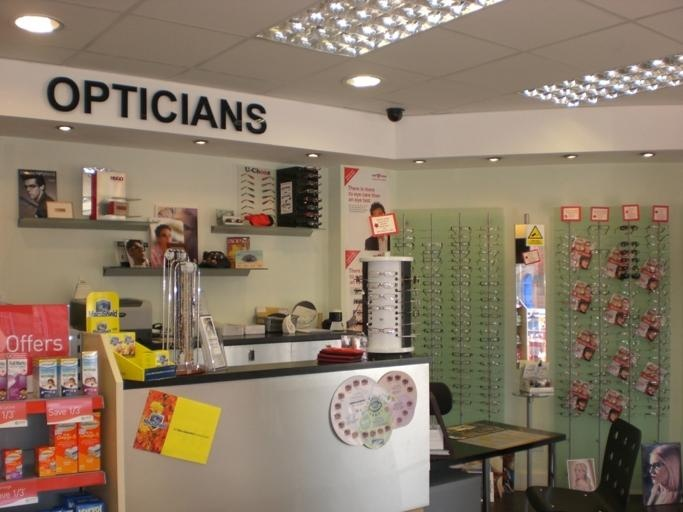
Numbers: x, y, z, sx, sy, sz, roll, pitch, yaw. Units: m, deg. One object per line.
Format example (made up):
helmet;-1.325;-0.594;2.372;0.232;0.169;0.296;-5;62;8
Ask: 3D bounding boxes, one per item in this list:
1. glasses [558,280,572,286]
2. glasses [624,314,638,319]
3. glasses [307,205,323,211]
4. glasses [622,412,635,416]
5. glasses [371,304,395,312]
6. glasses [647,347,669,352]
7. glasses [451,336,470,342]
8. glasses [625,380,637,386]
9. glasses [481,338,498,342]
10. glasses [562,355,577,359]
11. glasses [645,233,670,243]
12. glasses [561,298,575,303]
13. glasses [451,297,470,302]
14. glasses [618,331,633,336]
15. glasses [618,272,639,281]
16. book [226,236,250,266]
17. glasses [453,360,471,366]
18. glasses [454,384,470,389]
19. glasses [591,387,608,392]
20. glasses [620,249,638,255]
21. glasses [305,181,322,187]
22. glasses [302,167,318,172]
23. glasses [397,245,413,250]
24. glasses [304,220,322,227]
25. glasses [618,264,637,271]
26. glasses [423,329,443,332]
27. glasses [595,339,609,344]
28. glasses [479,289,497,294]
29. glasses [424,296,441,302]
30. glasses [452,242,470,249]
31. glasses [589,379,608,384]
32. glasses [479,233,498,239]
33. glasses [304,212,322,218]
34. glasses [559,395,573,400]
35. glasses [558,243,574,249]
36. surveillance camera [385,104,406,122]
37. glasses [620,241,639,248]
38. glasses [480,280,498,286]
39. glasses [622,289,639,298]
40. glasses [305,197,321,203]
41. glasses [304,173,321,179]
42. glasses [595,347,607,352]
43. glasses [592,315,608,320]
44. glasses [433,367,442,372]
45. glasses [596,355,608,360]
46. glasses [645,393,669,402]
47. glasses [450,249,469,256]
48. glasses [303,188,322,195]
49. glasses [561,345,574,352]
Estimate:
glasses;2.494;0.306;6.354;0.130;0.082;0.030;-1;1;5
glasses;3.182;0.665;6.228;0.150;0.067;0.024;-2;1;-6
glasses;-0.289;-0.526;6.206;0.052;0.073;0.236;-1;5;31
glasses;3.118;1.721;6.196;0.086;0.049;0.021;-2;-2;3
glasses;0.277;0.350;3.953;0.171;0.047;0.030;-2;1;3
glasses;3.460;1.011;6.211;0.132;0.033;0.044;2;-23;3
glasses;1.352;0.932;6.495;0.218;0.089;0.072;4;0;4
glasses;3.168;1.380;6.209;0.098;0.058;0.021;-2;1;-3
glasses;1.658;0.935;6.405;0.213;0.060;0.029;-2;1;-3
glasses;2.522;1.114;6.319;0.145;0.063;0.045;-3;3;0
glasses;3.458;-0.200;6.244;0.244;0.144;0.056;-2;1;-12
glasses;2.515;0.502;6.332;0.116;0.060;0.021;-1;1;28
glasses;1.362;0.506;6.478;0.224;0.074;0.023;-1;1;6
glasses;3.114;0.853;6.237;0.144;0.045;0.026;-2;1;-3
glasses;3.150;0.220;6.239;0.154;0.056;0.097;0;-8;-3
book;-1.096;-0.046;5.951;0.283;0.381;0.050;5;-22;-26
glasses;1.350;1.199;6.417;0.139;0.085;0.033;2;4;7
glasses;1.359;1.462;6.409;0.209;0.049;0.051;1;3;2
glasses;2.832;1.464;6.238;0.164;0.079;0.031;-2;1;-2
glasses;3.157;-0.053;6.250;0.127;0.085;0.039;-4;11;4
glasses;-0.303;-0.788;6.146;0.192;0.070;0.056;2;-6;-39
glasses;-0.331;-0.925;6.108;0.089;0.034;0.089;1;-1;14
glasses;0.734;-0.099;6.607;0.074;0.054;0.118;5;5;43
glasses;-0.313;-0.358;6.190;0.191;0.064;0.059;-1;-20;-29
glasses;3.143;0.126;6.241;0.200;0.081;0.037;-2;1;-7
glasses;1.038;0.843;6.496;0.131;0.035;0.086;-2;-1;-6
glasses;2.874;0.936;6.264;0.079;0.024;0.083;2;4;34
glasses;1.655;0.396;6.440;0.093;0.028;0.097;3;-16;6
glasses;1.037;0.475;6.547;0.206;0.072;0.095;1;-4;2
glasses;1.361;-0.124;6.510;0.193;0.092;0.029;-2;1;-1
glasses;2.830;1.373;6.250;0.157;0.049;0.030;-6;-14;5
glasses;1.665;-0.218;6.475;0.191;0.086;0.034;-2;1;-5
glasses;-0.315;-0.452;6.167;0.063;0.051;0.149;0;10;40
glasses;2.464;1.559;6.287;0.150;0.062;0.027;-1;1;6
glasses;2.499;-0.122;6.352;0.071;0.045;0.111;3;-8;-43
surveillance camera;0.555;-1.498;5.943;0.136;0.097;0.138;0;-7;-3
glasses;3.160;-0.130;6.239;0.177;0.062;0.020;-3;3;2
glasses;1.665;0.299;6.447;0.207;0.092;0.026;-2;1;-1
glasses;3.155;0.416;6.248;0.106;0.109;0.029;-5;1;4
glasses;-0.308;-0.613;6.164;0.050;0.065;0.200;-10;-1;39
glasses;-0.334;-0.851;6.072;0.136;0.061;0.034;-2;1;-27
glasses;2.850;1.032;6.262;0.171;0.046;0.034;2;-1;10
glasses;2.845;0.675;6.274;0.143;0.059;0.027;-2;1;-1
glasses;1.083;1.287;6.454;0.096;0.055;0.023;2;1;3
glasses;2.868;1.107;6.271;0.138;0.060;0.041;4;-1;4
glasses;3.449;1.543;6.192;0.132;0.040;0.133;5;-6;-15
glasses;1.354;-0.033;6.513;0.224;0.094;0.029;-2;1;1
glasses;-0.302;-0.700;6.142;0.238;0.073;0.056;-5;2;-37
glasses;2.504;1.026;6.313;0.125;0.074;0.020;-1;1;21
